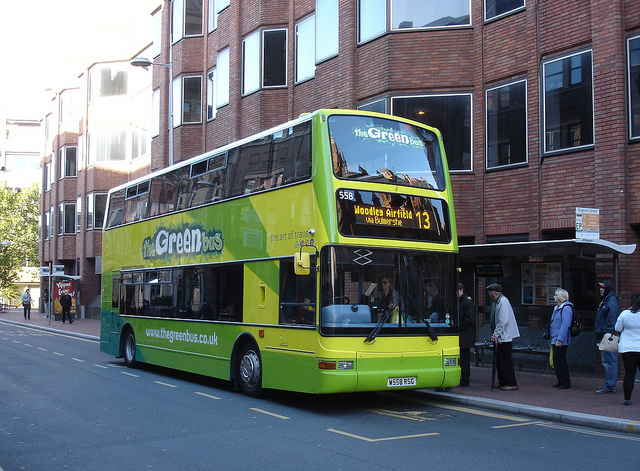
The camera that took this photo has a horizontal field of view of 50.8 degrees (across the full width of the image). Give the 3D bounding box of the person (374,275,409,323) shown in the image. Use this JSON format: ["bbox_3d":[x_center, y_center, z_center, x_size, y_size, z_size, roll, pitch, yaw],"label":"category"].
[{"bbox_3d":[1.304,1.196,12.632,0.559,0.849,0.204,-6,1,-22],"label":"person"}]

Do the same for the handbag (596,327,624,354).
[{"bbox_3d":[5.983,2.217,13.926,0.379,0.500,0.478,-12,7,-41],"label":"handbag"}]

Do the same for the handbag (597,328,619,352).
[{"bbox_3d":[5.973,2.164,13.934,0.469,0.509,0.228,11,-3,19],"label":"handbag"}]
